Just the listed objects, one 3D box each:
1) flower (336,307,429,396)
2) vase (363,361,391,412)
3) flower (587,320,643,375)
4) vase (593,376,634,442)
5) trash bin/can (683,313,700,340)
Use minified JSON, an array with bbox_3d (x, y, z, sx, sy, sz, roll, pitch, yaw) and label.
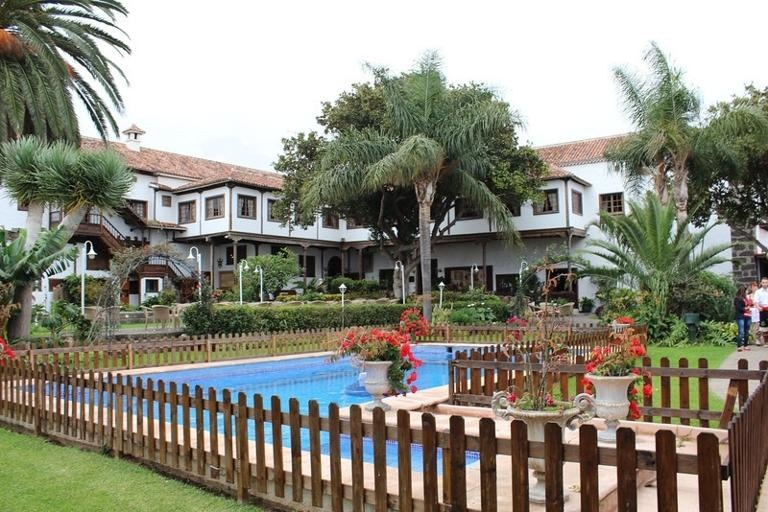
[{"bbox_3d":[-0.035,1.834,11.683,1.041,1.138,1.205,8,-8,-3],"label":"flower"},{"bbox_3d":[-0.121,2.192,11.344,0.511,0.844,0.463,1,-5,-2],"label":"vase"},{"bbox_3d":[4.263,1.644,12.073,1.196,0.882,0.998,-6,0,29],"label":"flower"},{"bbox_3d":[3.391,2.240,9.797,0.664,1.014,0.545,1,-5,8],"label":"vase"},{"bbox_3d":[9.911,2.223,21.094,0.815,0.909,0.412,4,-6,-34],"label":"trash bin/can"}]
